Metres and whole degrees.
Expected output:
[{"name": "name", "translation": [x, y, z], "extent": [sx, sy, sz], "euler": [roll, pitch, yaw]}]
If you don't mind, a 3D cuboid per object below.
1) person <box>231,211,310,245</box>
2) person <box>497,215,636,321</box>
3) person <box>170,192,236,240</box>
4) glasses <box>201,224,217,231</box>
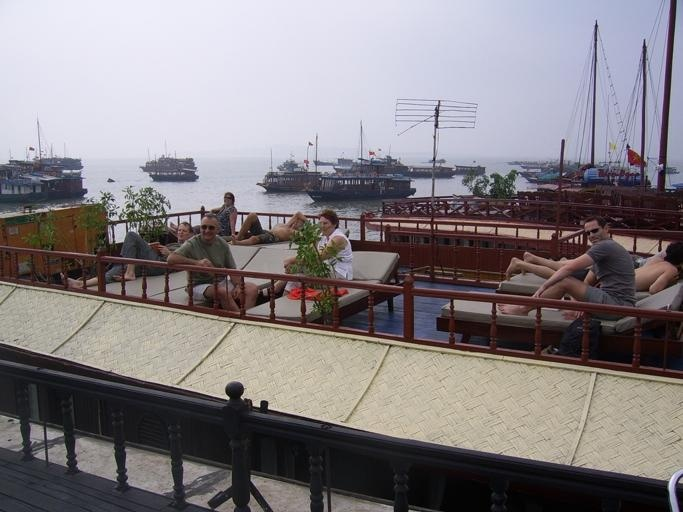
[{"name": "person", "translation": [-1.556, -0.523, 11.720], "extent": [1.922, 0.786, 0.708], "euler": [0, 8, 0]}, {"name": "person", "translation": [2.776, 0.143, 6.932], "extent": [1.282, 1.175, 1.560], "euler": [4, 1, 36]}, {"name": "person", "translation": [-2.672, -0.851, 12.895], "extent": [1.448, 0.633, 1.463], "euler": [12, 19, 38]}, {"name": "glasses", "translation": [-1.870, -0.399, 8.152], "extent": [0.196, 0.092, 0.095], "euler": [4, 0, -16]}]
